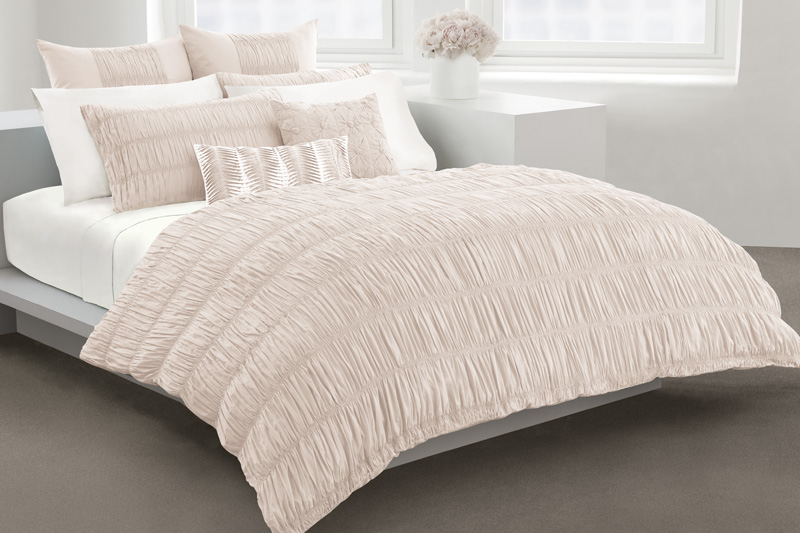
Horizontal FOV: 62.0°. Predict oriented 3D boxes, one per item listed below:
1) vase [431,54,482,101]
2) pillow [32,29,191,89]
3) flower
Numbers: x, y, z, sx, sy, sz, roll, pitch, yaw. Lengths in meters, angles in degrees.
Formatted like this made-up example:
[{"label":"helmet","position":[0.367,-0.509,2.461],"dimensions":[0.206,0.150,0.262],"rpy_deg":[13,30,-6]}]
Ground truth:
[{"label":"vase","position":[0.350,-1.116,3.898],"dimensions":[0.327,0.232,0.327],"rpy_deg":[7,17,25]},{"label":"pillow","position":[-1.522,-1.079,3.467],"dimensions":[0.689,0.380,0.213],"rpy_deg":[-6,-14,-30]},{"label":"flower","position":[0.326,-1.290,3.716],"dimensions":[0.341,0.156,0.339],"rpy_deg":[3,16,7]}]
